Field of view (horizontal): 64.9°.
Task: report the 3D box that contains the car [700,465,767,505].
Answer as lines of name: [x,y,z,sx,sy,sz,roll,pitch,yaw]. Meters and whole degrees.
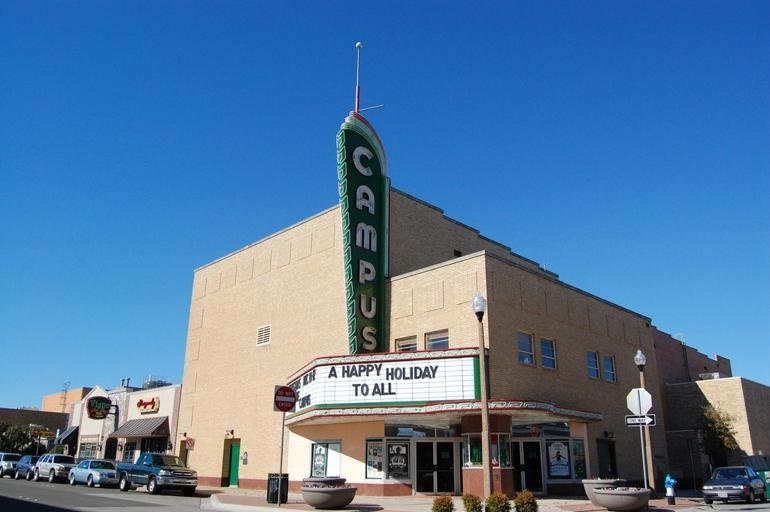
car: [20.026,13.107,34.820,3.985,2.026,1.737,11,-26,-24]

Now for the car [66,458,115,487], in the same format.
car: [-21.308,16.030,44.899,4.343,1.878,1.610,-18,-29,36]
